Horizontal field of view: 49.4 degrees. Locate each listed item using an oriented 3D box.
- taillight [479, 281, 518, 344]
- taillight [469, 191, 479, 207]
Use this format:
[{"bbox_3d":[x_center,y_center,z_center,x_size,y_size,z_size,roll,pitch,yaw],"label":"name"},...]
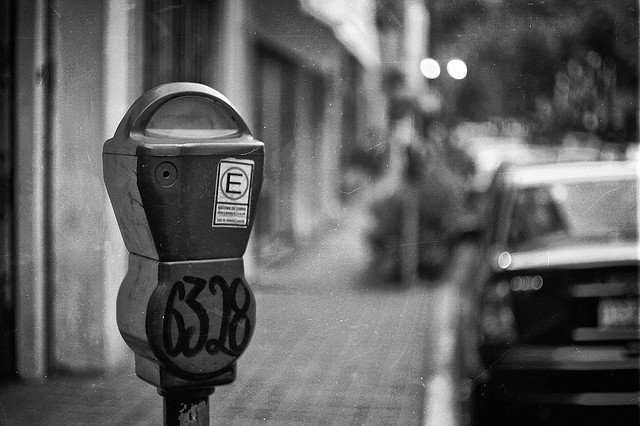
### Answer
[{"bbox_3d":[0.933,0.549,3.710,0.160,0.351,0.181,-1,13,1],"label":"taillight"},{"bbox_3d":[0.806,-0.068,3.651,0.067,0.063,0.016,7,-6,-17],"label":"taillight"}]
